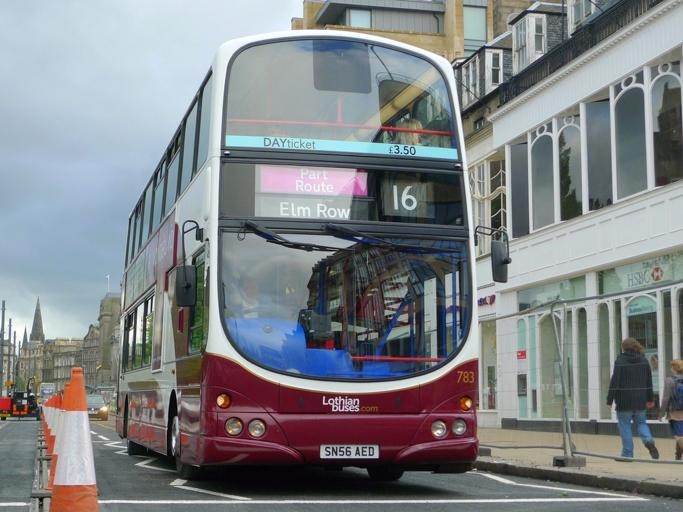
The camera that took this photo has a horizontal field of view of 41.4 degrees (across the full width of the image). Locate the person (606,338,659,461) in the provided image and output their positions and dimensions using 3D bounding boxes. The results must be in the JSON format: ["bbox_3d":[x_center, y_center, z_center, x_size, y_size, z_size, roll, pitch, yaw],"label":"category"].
[{"bbox_3d":[4.766,2.364,14.848,0.412,1.887,0.805,9,-13,-36],"label":"person"}]

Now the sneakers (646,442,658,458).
[{"bbox_3d":[5.005,3.114,14.611,0.087,0.327,0.082,-24,-31,14],"label":"sneakers"}]
